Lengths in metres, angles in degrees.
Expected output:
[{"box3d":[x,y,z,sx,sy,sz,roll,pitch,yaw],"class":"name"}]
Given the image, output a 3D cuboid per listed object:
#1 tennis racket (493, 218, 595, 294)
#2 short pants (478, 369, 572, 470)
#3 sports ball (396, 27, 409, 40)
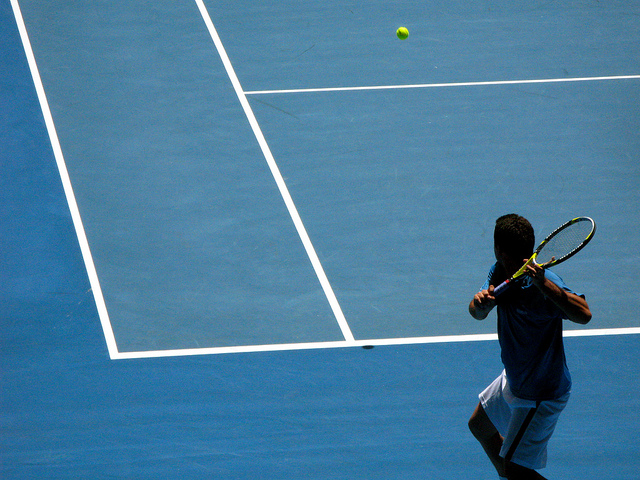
[{"box3d":[1.981,0.084,8.582,1.220,0.420,0.057,-26,-57,-7],"class":"tennis racket"},{"box3d":[1.768,1.546,8.613,0.587,0.813,0.685,-11,-53,-13],"class":"short pants"},{"box3d":[1.161,-2.841,13.755,0.165,0.309,0.134,13,-56,2],"class":"sports ball"}]
